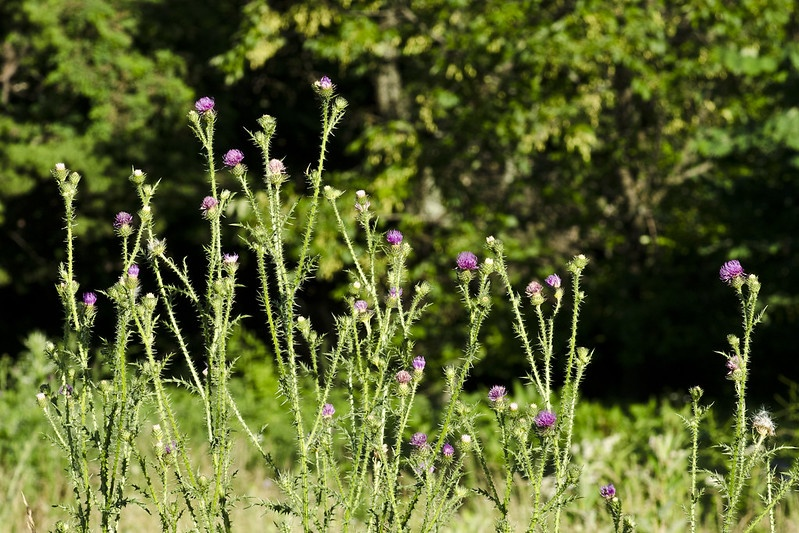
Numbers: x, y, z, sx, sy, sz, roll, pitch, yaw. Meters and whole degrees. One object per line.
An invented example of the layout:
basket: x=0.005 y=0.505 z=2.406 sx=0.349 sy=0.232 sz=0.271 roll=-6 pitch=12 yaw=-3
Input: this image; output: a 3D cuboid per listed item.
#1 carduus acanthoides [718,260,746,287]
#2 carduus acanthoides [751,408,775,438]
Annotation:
carduus acanthoides: x=2.871 y=0.057 z=16.595 sx=0.192 sy=0.222 sz=0.180 roll=0 pitch=-10 yaw=10
carduus acanthoides: x=3.136 y=1.344 z=16.594 sx=0.185 sy=0.256 sz=0.260 roll=-1 pitch=-10 yaw=11
